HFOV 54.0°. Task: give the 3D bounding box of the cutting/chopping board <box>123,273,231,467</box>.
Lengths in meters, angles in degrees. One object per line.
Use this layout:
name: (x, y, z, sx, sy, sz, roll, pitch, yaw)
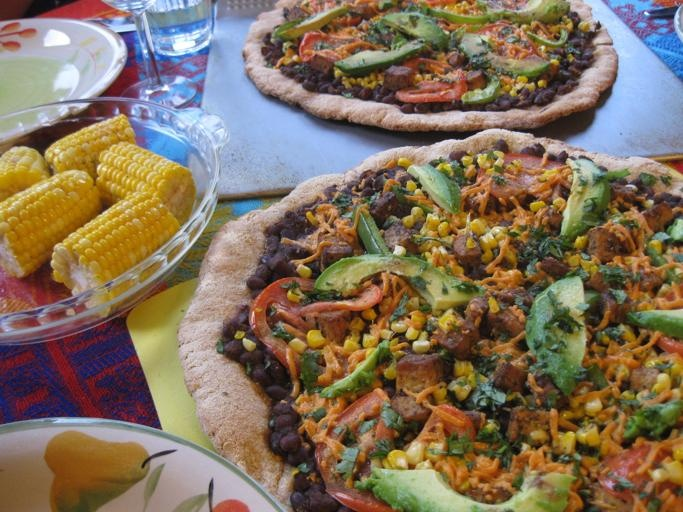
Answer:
cutting/chopping board: (-1.021, 0.606, 3.925, 0.650, 0.007, 1.156, 4, 56, -21)
